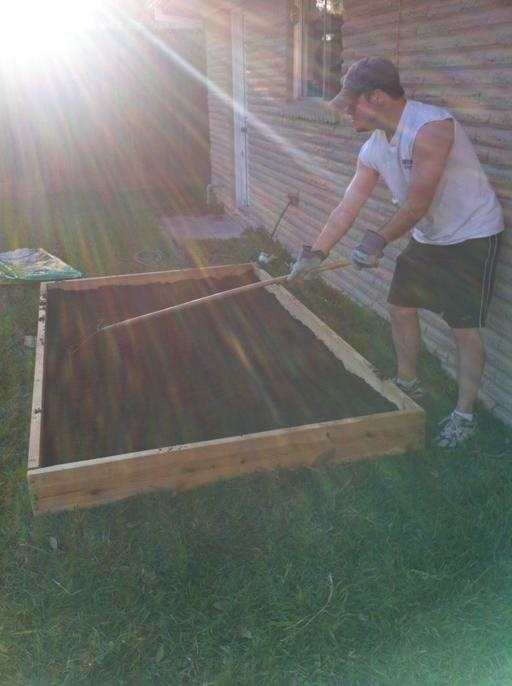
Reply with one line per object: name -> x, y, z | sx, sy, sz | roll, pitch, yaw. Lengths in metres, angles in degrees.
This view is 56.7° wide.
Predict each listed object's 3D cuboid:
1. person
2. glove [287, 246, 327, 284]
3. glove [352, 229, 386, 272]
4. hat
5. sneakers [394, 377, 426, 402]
person -> 0.879, -0.481, 2.651 | 1.040, 1.867, 0.679 | 9, 24, 12
glove -> 0.309, -0.581, 3.170 | 0.248, 0.299, 0.176 | -5, 42, -28
glove -> 0.599, -0.542, 2.622 | 0.140, 0.224, 0.209 | 23, 30, 17
hat -> 0.538, -1.247, 2.345 | 0.264, 0.166, 0.218 | -17, 48, 10
sneakers -> 1.001, 0.294, 3.115 | 0.195, 0.126, 0.123 | -4, 11, -23
